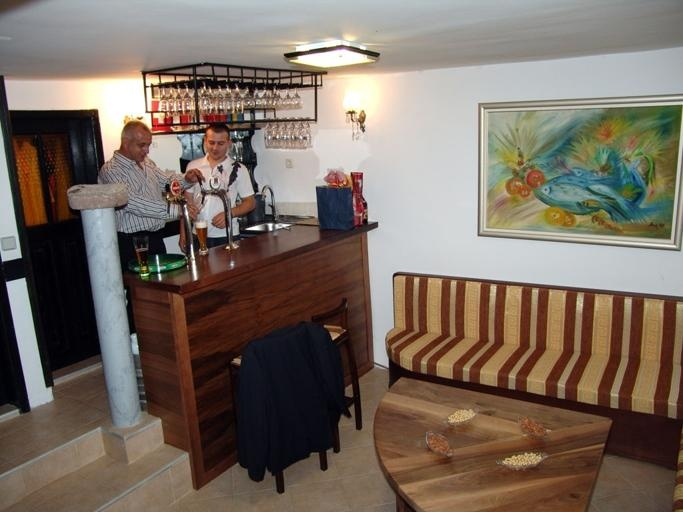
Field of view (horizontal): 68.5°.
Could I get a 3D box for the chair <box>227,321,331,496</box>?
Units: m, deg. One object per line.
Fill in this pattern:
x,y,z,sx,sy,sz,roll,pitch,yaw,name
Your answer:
-0.394,1.060,3.546,0.739,1.042,0.542,-8,1,-31,chair

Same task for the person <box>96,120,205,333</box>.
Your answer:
-1.603,-0.150,4.355,0.767,1.977,1.088,-9,15,-23,person

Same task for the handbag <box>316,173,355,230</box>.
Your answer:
-0.064,-0.511,4.743,0.339,0.534,0.271,-2,14,3,handbag

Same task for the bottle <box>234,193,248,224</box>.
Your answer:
-1.069,-0.473,5.122,0.212,0.324,0.216,0,12,0,bottle

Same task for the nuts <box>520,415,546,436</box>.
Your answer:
1.118,1.004,2.950,0.096,0.038,0.095,4,7,-23,nuts

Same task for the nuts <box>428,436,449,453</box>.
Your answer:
0.549,1.078,2.867,0.075,0.033,0.097,1,14,-12,nuts

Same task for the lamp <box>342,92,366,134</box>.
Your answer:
0.110,-1.385,4.978,0.258,0.422,0.122,7,17,35,lamp

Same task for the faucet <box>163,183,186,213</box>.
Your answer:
-1.333,-0.462,4.018,0.136,0.299,0.681,-8,14,-18,faucet
